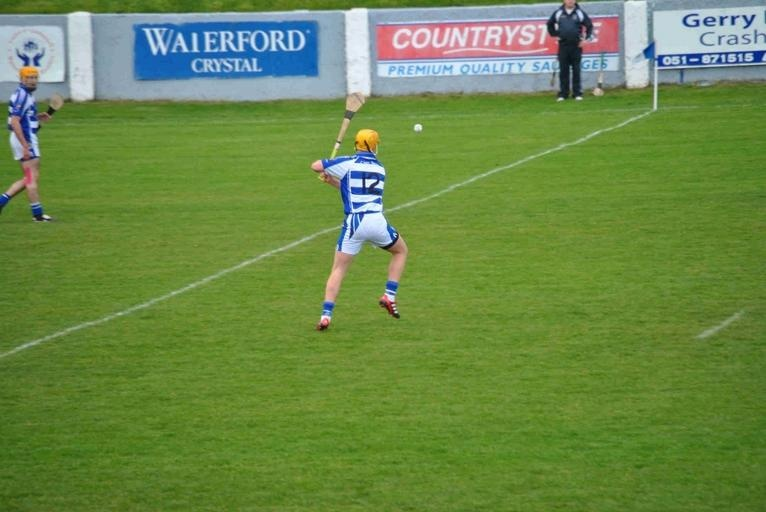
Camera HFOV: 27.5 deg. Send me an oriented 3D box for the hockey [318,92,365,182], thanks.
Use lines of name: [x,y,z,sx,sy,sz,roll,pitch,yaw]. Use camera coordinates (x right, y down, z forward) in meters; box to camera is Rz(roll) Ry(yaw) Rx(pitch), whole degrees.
hockey: [-0.662,-2.544,28.753,0.627,0.105,2.510,17,38,-5]

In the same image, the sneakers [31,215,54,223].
sneakers: [-6.562,-0.709,30.196,0.421,0.130,0.128,-3,12,-5]
